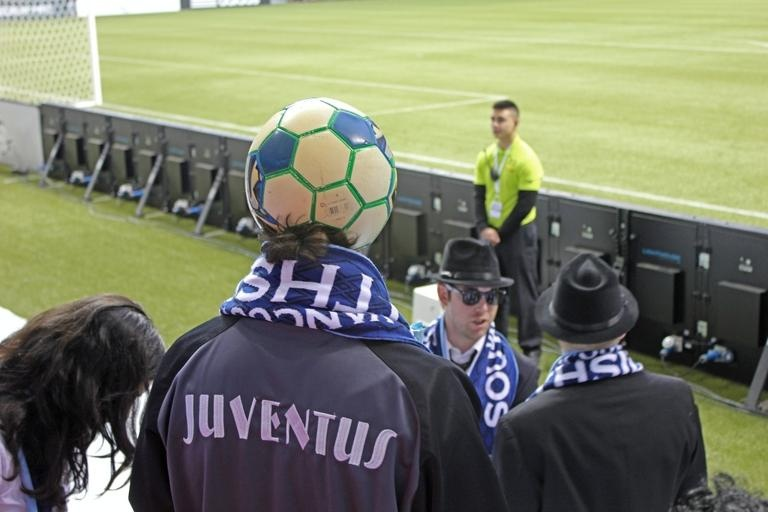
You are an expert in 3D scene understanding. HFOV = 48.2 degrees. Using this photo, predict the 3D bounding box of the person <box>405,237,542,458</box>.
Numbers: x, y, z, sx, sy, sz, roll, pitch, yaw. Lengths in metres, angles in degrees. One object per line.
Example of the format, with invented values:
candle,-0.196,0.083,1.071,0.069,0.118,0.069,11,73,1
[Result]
person,0.389,0.508,4.115,0.718,1.123,0.582,0,-1,-7

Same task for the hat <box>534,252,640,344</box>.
hat,0.809,0.193,3.414,0.322,0.180,0.381,6,36,17
